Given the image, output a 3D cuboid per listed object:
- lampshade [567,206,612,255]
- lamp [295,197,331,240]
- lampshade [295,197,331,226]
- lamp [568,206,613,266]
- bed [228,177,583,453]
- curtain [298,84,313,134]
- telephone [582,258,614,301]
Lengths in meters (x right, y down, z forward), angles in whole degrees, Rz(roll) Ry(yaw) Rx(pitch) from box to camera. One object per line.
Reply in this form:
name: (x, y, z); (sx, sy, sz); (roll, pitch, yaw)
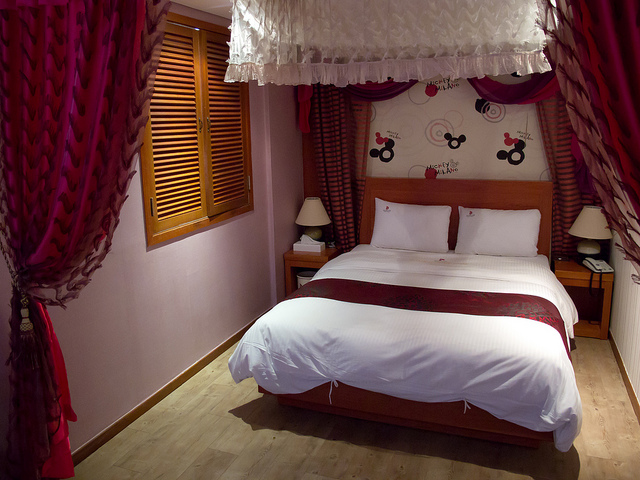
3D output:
lampshade: (2.511, -0.099, 4.042); (0.309, 0.542, 0.315); (5, 16, 28)
lamp: (-0.087, -0.245, 5.108); (0.339, 0.547, 0.398); (0, 22, 1)
lampshade: (-0.098, -0.307, 4.962); (0.282, 0.286, 0.312); (-1, 11, -2)
lamp: (2.693, -0.062, 4.320); (0.348, 0.606, 0.339); (-22, 23, -30)
bed: (1.125, 0.391, 4.164); (2.333, 1.713, 3.070); (1, 10, 27)
curtain: (-0.153, -1.453, 4.911); (0.173, 0.531, 0.516); (-4, 13, -2)
telephone: (2.648, 0.407, 4.160); (0.241, 0.135, 0.377); (2, 36, 30)
